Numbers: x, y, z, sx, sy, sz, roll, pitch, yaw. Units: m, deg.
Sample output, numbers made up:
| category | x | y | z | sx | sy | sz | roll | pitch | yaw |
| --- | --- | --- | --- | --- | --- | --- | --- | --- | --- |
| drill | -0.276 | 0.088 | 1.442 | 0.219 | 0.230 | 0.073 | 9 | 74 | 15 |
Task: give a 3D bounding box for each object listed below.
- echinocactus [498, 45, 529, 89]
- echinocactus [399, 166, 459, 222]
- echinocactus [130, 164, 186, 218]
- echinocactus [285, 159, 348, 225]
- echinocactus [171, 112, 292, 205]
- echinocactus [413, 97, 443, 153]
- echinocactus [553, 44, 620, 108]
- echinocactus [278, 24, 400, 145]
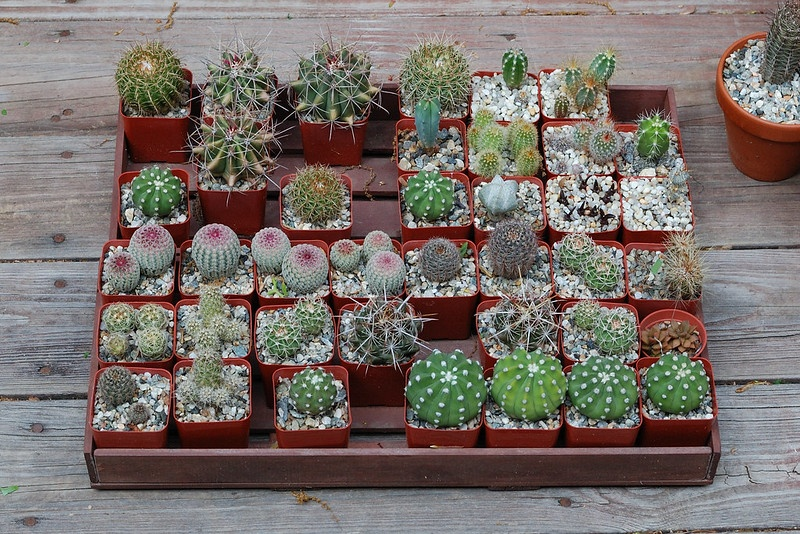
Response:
| category | x | y | z | sx | sy | sz | roll | pitch | yaw |
| --- | --- | --- | --- | --- | --- | --- | --- | --- | --- |
| echinocactus | 0.728 | -1.253 | 5.267 | 0.152 | 0.214 | 0.164 | 17 | 17 | 34 |
| echinocactus | 0.147 | -0.376 | 4.882 | 0.379 | 0.224 | 0.384 | -7 | 14 | -31 |
| echinocactus | -1.424 | -0.435 | 4.802 | 0.269 | 0.174 | 0.241 | -11 | 62 | -6 |
| echinocactus | -0.520 | -0.375 | 4.863 | 0.368 | 0.177 | 0.353 | 30 | 28 | 28 |
| echinocactus | -1.034 | -0.695 | 4.967 | 0.708 | 0.320 | 0.573 | 12 | 24 | 15 |
| echinocactus | 0.165 | -0.848 | 4.962 | 0.144 | 0.307 | 0.153 | 21 | 55 | 20 |
| echinocactus | 1.158 | -1.186 | 5.161 | 0.333 | 0.373 | 0.210 | 20 | 30 | 25 |
| echinocactus | -0.398 | -1.063 | 5.186 | 0.690 | 0.447 | 0.665 | -12 | 58 | -10 |
